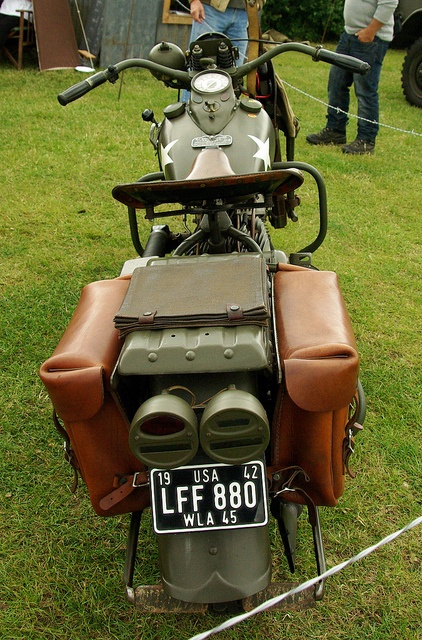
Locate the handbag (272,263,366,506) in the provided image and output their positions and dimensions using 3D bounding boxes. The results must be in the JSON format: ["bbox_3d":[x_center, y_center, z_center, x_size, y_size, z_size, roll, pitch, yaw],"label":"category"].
[{"bbox_3d":[0.276,0.206,1.490,0.200,0.526,0.456,1,30,5],"label":"handbag"}]

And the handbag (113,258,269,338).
[{"bbox_3d":[-0.043,-0.072,1.369,0.364,0.087,0.346,0,30,3],"label":"handbag"}]

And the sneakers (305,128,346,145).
[{"bbox_3d":[1.266,-2.047,5.989,0.473,0.230,0.171,6,33,-1],"label":"sneakers"}]

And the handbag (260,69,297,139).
[{"bbox_3d":[0.442,-1.226,2.985,0.141,0.355,0.252,-29,29,-23],"label":"handbag"}]

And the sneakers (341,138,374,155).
[{"bbox_3d":[1.574,-1.825,5.643,0.382,0.189,0.144,9,16,0],"label":"sneakers"}]
